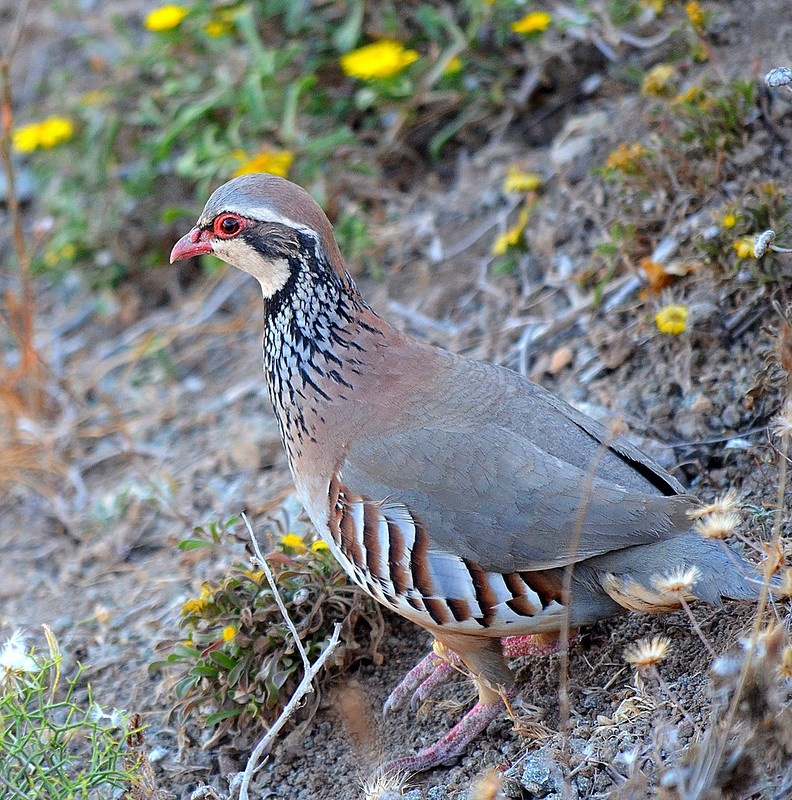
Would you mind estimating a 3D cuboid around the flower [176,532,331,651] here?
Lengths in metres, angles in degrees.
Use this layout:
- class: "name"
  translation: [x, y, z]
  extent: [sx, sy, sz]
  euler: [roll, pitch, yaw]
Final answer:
- class: "flower"
  translation: [-0.446, 0.652, 4.114]
  extent: [0.457, 0.170, 0.408]
  euler: [-31, 49, -34]
